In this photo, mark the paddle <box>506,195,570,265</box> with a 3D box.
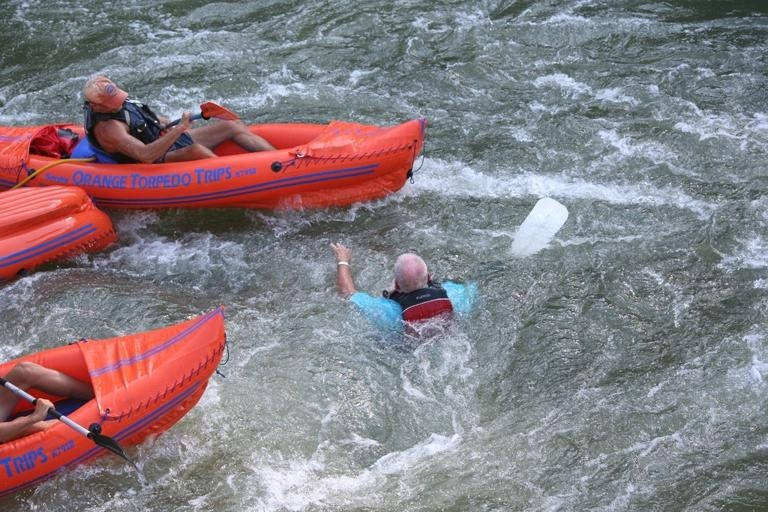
[{"bbox_3d":[1.915,-0.332,12.374,0.459,0.924,0.134,44,14,0],"label":"paddle"}]

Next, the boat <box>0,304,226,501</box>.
[{"bbox_3d":[-2.883,1.661,11.342,3.234,1.014,1.328,-19,62,-13],"label":"boat"}]

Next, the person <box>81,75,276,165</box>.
[{"bbox_3d":[-2.508,-1.675,13.090,2.663,0.908,1.115,5,36,3],"label":"person"}]

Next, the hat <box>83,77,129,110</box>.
[{"bbox_3d":[-3.516,-2.017,12.695,0.491,0.391,0.259,1,45,-8],"label":"hat"}]

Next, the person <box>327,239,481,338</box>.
[{"bbox_3d":[0.190,0.363,11.706,1.622,0.880,0.889,16,44,10],"label":"person"}]

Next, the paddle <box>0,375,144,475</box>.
[{"bbox_3d":[-3.361,1.870,10.873,2.525,0.162,0.237,22,81,14],"label":"paddle"}]
